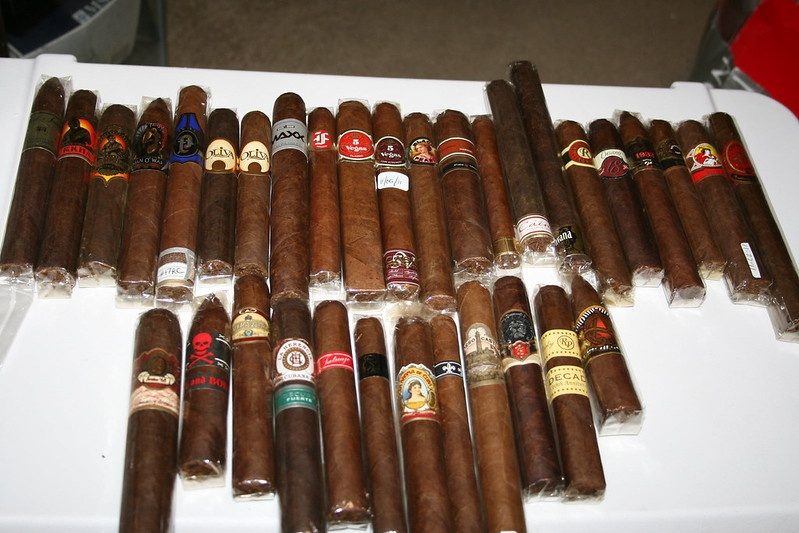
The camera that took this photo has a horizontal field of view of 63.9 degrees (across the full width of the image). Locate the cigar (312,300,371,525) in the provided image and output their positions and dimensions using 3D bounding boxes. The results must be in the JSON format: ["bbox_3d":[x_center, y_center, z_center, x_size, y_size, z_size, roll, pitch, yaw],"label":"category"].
[{"bbox_3d":[-0.175,0.424,1.805,0.138,0.661,0.117,-2,-21,-2],"label":"cigar"}]

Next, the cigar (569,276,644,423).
[{"bbox_3d":[0.650,0.259,2.078,0.123,0.458,0.120,-6,-29,-1],"label":"cigar"}]

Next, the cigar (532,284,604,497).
[{"bbox_3d":[0.516,0.372,2.028,0.129,0.622,0.139,-2,-24,-5],"label":"cigar"}]

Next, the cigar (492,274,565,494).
[{"bbox_3d":[0.391,0.359,2.007,0.138,0.646,0.122,2,-25,-9],"label":"cigar"}]
